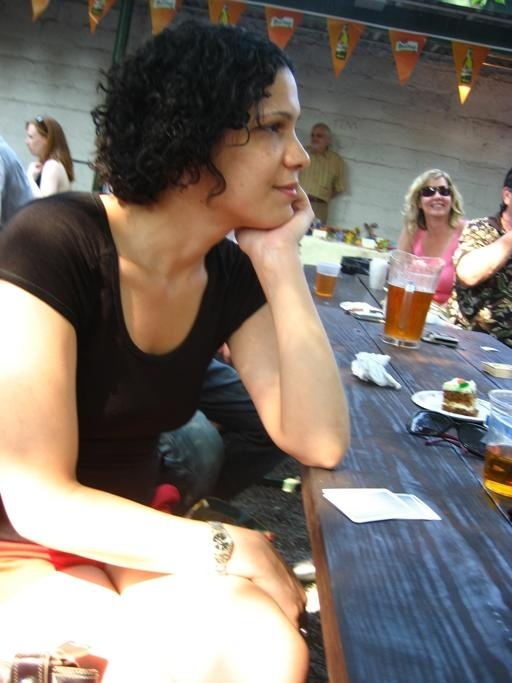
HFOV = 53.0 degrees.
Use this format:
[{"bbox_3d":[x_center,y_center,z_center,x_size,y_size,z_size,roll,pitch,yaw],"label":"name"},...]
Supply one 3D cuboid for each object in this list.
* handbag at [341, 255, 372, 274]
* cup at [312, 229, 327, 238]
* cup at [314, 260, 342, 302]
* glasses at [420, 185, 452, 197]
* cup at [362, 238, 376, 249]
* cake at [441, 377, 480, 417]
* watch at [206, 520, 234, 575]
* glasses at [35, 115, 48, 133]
[{"bbox_3d":[0.722,-0.552,3.737,0.272,0.144,0.189,2,2,-7],"label":"handbag"},{"bbox_3d":[0.657,-1.130,5.286,0.151,0.143,0.109,3,5,6],"label":"cup"},{"bbox_3d":[0.341,-0.310,2.546,0.166,0.178,0.168,4,4,0],"label":"cup"},{"bbox_3d":[1.307,-1.089,3.727,0.119,0.046,0.118,-1,-5,10],"label":"glasses"},{"bbox_3d":[1.214,-1.047,5.524,0.169,0.127,0.388,8,8,11],"label":"cup"},{"bbox_3d":[0.451,0.118,1.136,0.082,0.092,0.076,1,4,18],"label":"cake"},{"bbox_3d":[-0.054,0.301,0.756,0.015,0.055,0.044,-28,-44,29],"label":"watch"},{"bbox_3d":[-2.183,-2.211,5.234,0.108,0.185,0.051,-21,2,25],"label":"glasses"}]
